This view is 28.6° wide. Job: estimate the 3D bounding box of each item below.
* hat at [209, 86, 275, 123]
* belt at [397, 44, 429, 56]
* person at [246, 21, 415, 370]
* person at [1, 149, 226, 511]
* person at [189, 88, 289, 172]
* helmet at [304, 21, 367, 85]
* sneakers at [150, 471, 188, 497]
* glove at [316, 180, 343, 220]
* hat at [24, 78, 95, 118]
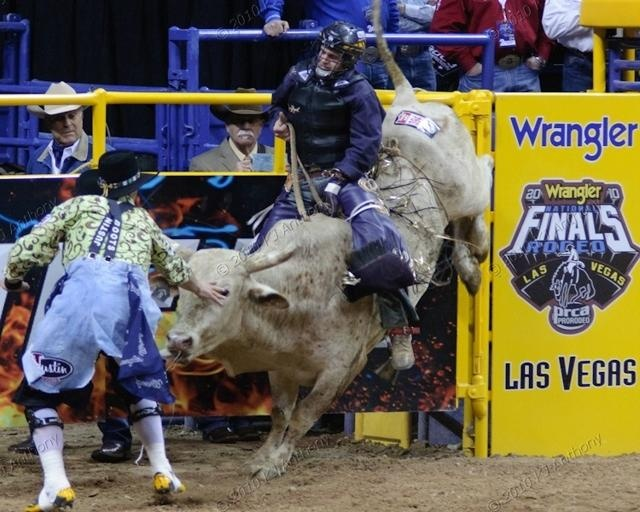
[{"bbox_3d":[-0.653,-1.186,10.303,0.454,0.168,0.456,1,-6,-6],"label":"hat"},{"bbox_3d":[0.831,-1.863,11.382,0.189,0.059,0.150,3,11,28],"label":"belt"},{"bbox_3d":[0.127,-0.568,8.873,1.154,2.127,0.674,1,6,3],"label":"person"},{"bbox_3d":[-1.476,0.496,8.330,1.221,2.347,0.736,-1,6,-14],"label":"person"},{"bbox_3d":[-0.676,-1.006,10.146,1.002,0.726,0.471,2,-7,-24],"label":"person"},{"bbox_3d":[0.132,-1.474,8.834,0.437,0.395,0.336,-28,63,-39],"label":"helmet"},{"bbox_3d":[-1.027,1.505,8.338,0.118,0.108,0.270,-8,1,10],"label":"sneakers"},{"bbox_3d":[0.051,-0.411,8.858,0.193,0.270,0.120,5,7,35],"label":"glove"},{"bbox_3d":[-2.196,-1.251,10.125,0.415,0.159,0.446,-8,10,-2],"label":"hat"}]
